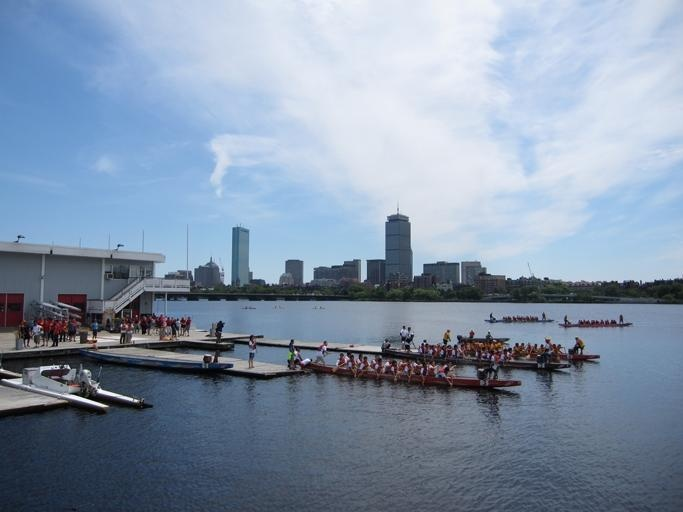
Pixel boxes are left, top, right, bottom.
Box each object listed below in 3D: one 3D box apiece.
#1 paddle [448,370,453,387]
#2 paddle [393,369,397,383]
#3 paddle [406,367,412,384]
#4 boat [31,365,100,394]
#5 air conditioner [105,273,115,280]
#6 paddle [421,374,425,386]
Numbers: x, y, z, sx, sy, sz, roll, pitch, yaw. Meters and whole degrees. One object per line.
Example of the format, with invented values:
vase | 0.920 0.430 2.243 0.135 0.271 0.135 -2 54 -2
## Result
paddle | 8.494 9.551 49.759 0.269 0.950 0.127 -4 -17 37
paddle | 4.384 9.567 51.348 0.300 0.731 0.487 0 0 -1
paddle | 5.436 9.426 50.851 0.451 1.022 0.569 0 0 -12
boat | -19.033 8.541 44.073 5.135 1.793 1.818 0 0 24
air conditioner | -27.860 2.416 77.114 0.622 0.846 1.133 -1 2 -36
paddle | 6.471 9.690 50.396 0.415 1.330 0.134 -2 -6 26
